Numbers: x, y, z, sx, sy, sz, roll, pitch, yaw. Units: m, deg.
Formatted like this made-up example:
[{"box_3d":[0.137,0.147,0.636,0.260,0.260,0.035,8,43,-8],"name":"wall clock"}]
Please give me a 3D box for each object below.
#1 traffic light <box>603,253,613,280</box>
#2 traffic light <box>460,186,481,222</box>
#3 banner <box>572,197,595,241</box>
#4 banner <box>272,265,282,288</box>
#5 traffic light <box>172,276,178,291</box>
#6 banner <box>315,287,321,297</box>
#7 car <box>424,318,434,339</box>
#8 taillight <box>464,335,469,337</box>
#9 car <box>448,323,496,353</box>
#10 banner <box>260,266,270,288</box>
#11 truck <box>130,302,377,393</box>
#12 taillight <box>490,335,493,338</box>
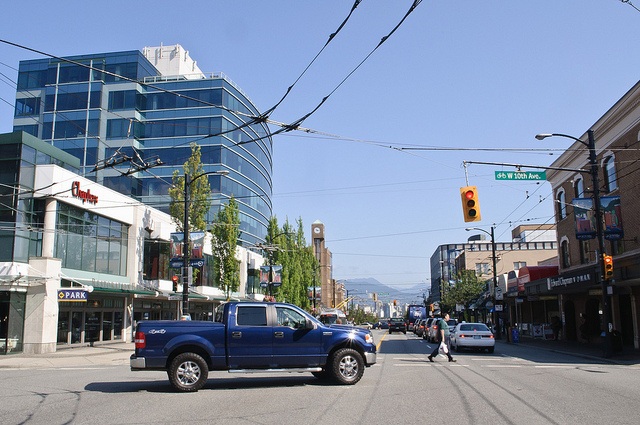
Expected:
[{"box_3d":[15.305,2.904,29.454,0.360,1.438,0.362,12,-19,-43],"name":"traffic light"},{"box_3d":[6.805,-0.316,25.152,0.680,1.633,1.332,-5,-15,15],"name":"traffic light"},{"box_3d":[16.398,0.313,34.410,1.160,2.547,3.419,-8,-16,25],"name":"banner"},{"box_3d":[-4.275,6.286,53.610,0.859,1.934,0.566,-3,-14,5],"name":"banner"},{"box_3d":[-8.111,4.033,30.807,0.224,0.842,0.781,2,-15,-11],"name":"traffic light"},{"box_3d":[-0.368,10.990,74.925,0.217,1.447,2.020,-3,-9,27],"name":"banner"},{"box_3d":[9.039,9.702,46.559,0.980,0.986,1.661,0,-7,6],"name":"car"},{"box_3d":[8.566,7.372,32.553,0.182,0.118,0.076,-6,-15,15],"name":"taillight"},{"box_3d":[8.951,7.660,33.734,1.327,1.053,3.233,-1,-7,3],"name":"car"},{"box_3d":[-5.434,6.299,54.157,0.830,1.994,1.419,2,-15,-11],"name":"banner"},{"box_3d":[-2.475,4.811,21.201,8.101,2.987,3.552,0,-10,-10],"name":"truck"},{"box_3d":[10.020,7.399,32.468,0.147,0.105,0.149,1,-6,6],"name":"taillight"}]
